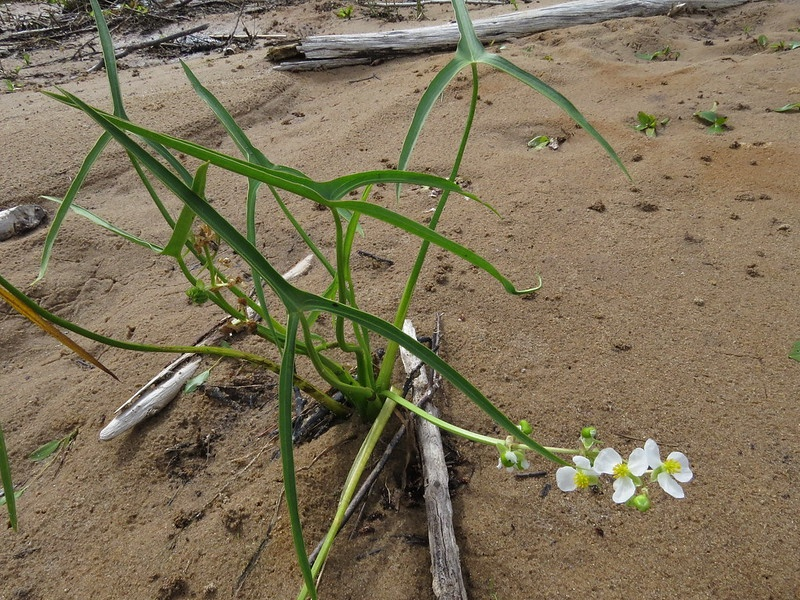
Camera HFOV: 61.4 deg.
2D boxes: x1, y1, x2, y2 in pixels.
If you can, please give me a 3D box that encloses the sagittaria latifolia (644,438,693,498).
[{"bbox_3d":[0.792,0.512,2.006,0.135,0.228,0.130,9,42,25],"label":"sagittaria latifolia"}]
